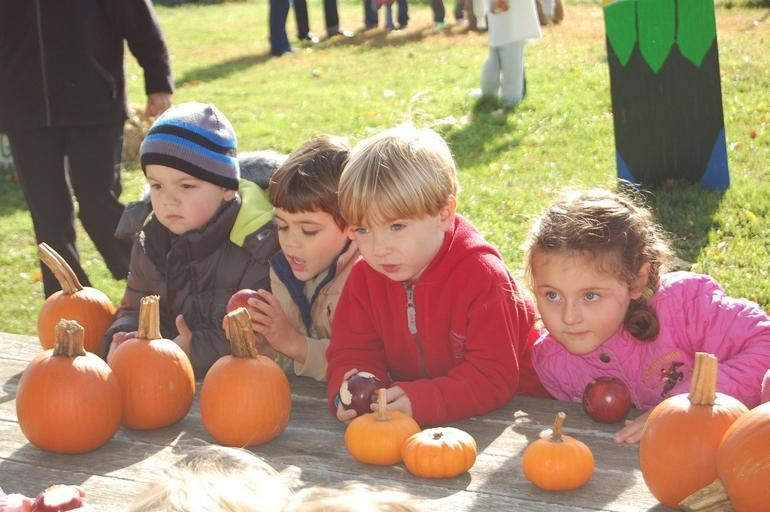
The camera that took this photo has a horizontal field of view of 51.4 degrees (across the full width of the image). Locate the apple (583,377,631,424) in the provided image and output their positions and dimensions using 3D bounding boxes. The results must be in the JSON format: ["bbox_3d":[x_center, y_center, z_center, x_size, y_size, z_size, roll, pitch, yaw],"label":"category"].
[{"bbox_3d":[1.259,0.820,4.619,0.229,0.231,0.237,0,6,-16],"label":"apple"}]

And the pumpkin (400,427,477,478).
[{"bbox_3d":[0.285,0.976,4.197,0.270,0.164,0.269,-6,6,4],"label":"pumpkin"}]

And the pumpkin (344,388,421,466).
[{"bbox_3d":[-0.034,0.881,4.383,0.374,0.374,0.386,0,-1,-35],"label":"pumpkin"}]

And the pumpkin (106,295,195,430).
[{"bbox_3d":[-1.346,0.635,4.901,0.674,1.001,0.640,0,-5,-21],"label":"pumpkin"}]

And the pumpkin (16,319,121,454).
[{"bbox_3d":[-1.718,0.731,4.694,0.639,0.914,0.658,-2,-3,2],"label":"pumpkin"}]

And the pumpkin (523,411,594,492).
[{"bbox_3d":[0.854,1.013,4.220,0.374,0.416,0.363,-6,4,-7],"label":"pumpkin"}]
